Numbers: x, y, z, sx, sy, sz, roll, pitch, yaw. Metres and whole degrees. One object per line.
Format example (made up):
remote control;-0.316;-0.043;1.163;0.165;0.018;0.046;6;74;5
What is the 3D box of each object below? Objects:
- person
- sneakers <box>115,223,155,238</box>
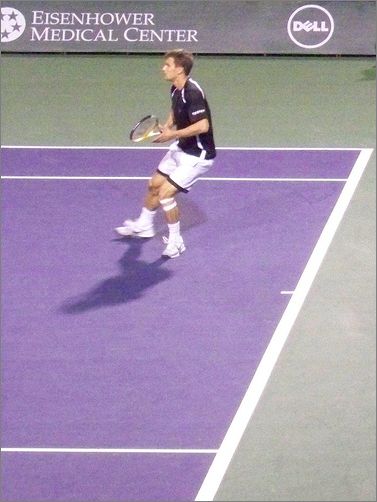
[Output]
person;-0.194;-0.982;5.922;0.932;2.087;0.903;3;21;-6
sneakers;-0.596;-0.230;6.349;0.474;0.152;0.146;4;12;-9
